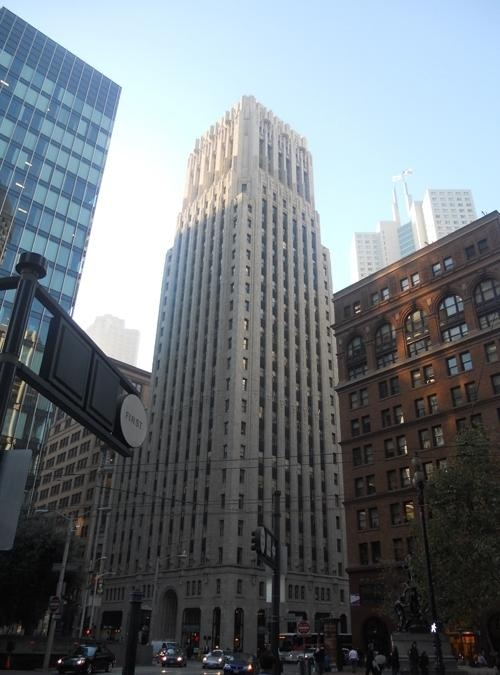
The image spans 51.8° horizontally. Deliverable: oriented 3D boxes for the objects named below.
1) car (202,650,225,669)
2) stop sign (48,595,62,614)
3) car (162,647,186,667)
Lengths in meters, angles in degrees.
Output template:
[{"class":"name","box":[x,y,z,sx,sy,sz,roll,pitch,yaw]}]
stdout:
[{"class":"car","box":[-2.775,25.239,40.014,1.580,0.971,1.718,0,-28,1]},{"class":"stop sign","box":[-10.146,13.934,26.752,0.571,0.738,1.174,9,-29,-17]},{"class":"car","box":[-6.444,27.044,43.197,1.502,1.273,2.541,-9,-29,17]}]
